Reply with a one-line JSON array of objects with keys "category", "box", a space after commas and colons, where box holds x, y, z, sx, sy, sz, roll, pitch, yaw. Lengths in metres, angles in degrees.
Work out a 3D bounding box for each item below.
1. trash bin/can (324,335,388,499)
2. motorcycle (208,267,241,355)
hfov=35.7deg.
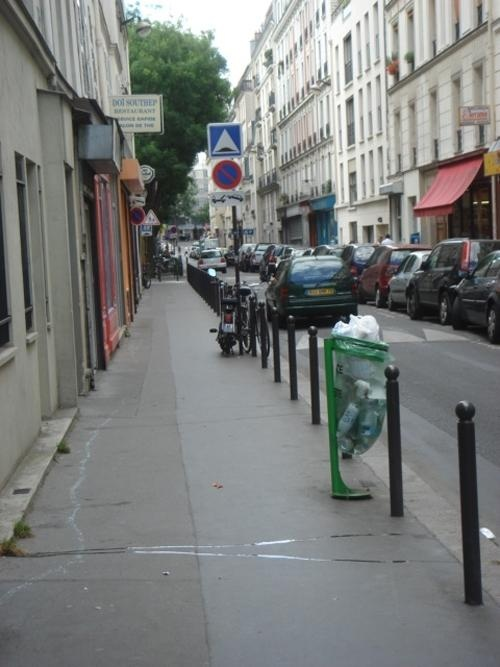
[{"category": "trash bin/can", "box": [0.610, 0.501, 4.547, 0.387, 0.981, 0.293, 1, 4, 15]}, {"category": "motorcycle", "box": [-0.344, -0.312, 12.643, 0.487, 0.827, 1.227, -2, 24, 1]}]
